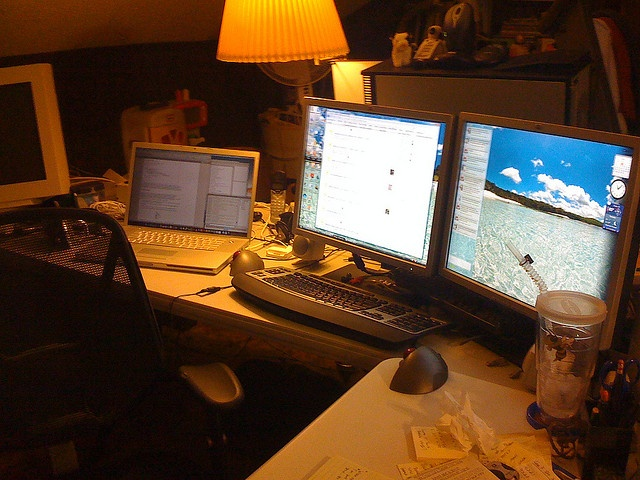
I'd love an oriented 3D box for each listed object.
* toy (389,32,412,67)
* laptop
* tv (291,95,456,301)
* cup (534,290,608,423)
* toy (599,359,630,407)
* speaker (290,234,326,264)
[{"bbox_3d":[0.313,-0.724,1.915,0.078,0.131,0.164,2,17,8],"label":"toy"},{"bbox_3d":[-0.520,-0.150,1.959,0.724,0.357,0.518,6,32,6],"label":"laptop"},{"bbox_3d":[0.174,-0.126,1.565,0.726,0.516,0.081,21,18,39],"label":"tv"},{"bbox_3d":[0.541,0.251,1.110,0.132,0.292,0.156,10,21,28],"label":"cup"},{"bbox_3d":[0.591,0.278,0.999,0.054,0.091,0.084,10,21,29],"label":"toy"},{"bbox_3d":[-0.054,0.029,1.884,0.123,0.095,0.146,-3,1,-27],"label":"speaker"}]
